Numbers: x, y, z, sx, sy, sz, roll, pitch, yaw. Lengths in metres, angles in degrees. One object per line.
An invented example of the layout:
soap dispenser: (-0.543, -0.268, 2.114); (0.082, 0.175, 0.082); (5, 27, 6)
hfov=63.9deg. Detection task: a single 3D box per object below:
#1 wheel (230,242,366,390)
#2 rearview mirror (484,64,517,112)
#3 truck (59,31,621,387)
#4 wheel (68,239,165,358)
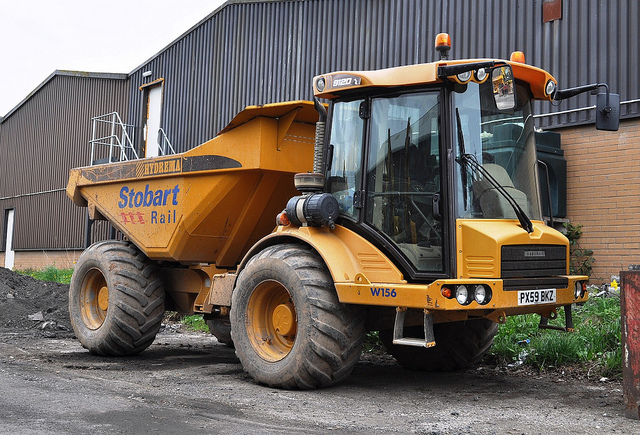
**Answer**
wheel: (-0.467, 1.277, 6.607); (1.557, 1.830, 0.660); (-10, -6, 38)
rearview mirror: (2.078, -1.514, 5.976); (0.341, 0.696, 0.152); (-13, 18, 2)
truck: (-0.784, 0.166, 8.696); (8.690, 4.895, 4.330); (-4, -6, 44)
wheel: (-3.533, 1.403, 8.781); (1.730, 2.041, 0.763); (-1, -5, 35)
